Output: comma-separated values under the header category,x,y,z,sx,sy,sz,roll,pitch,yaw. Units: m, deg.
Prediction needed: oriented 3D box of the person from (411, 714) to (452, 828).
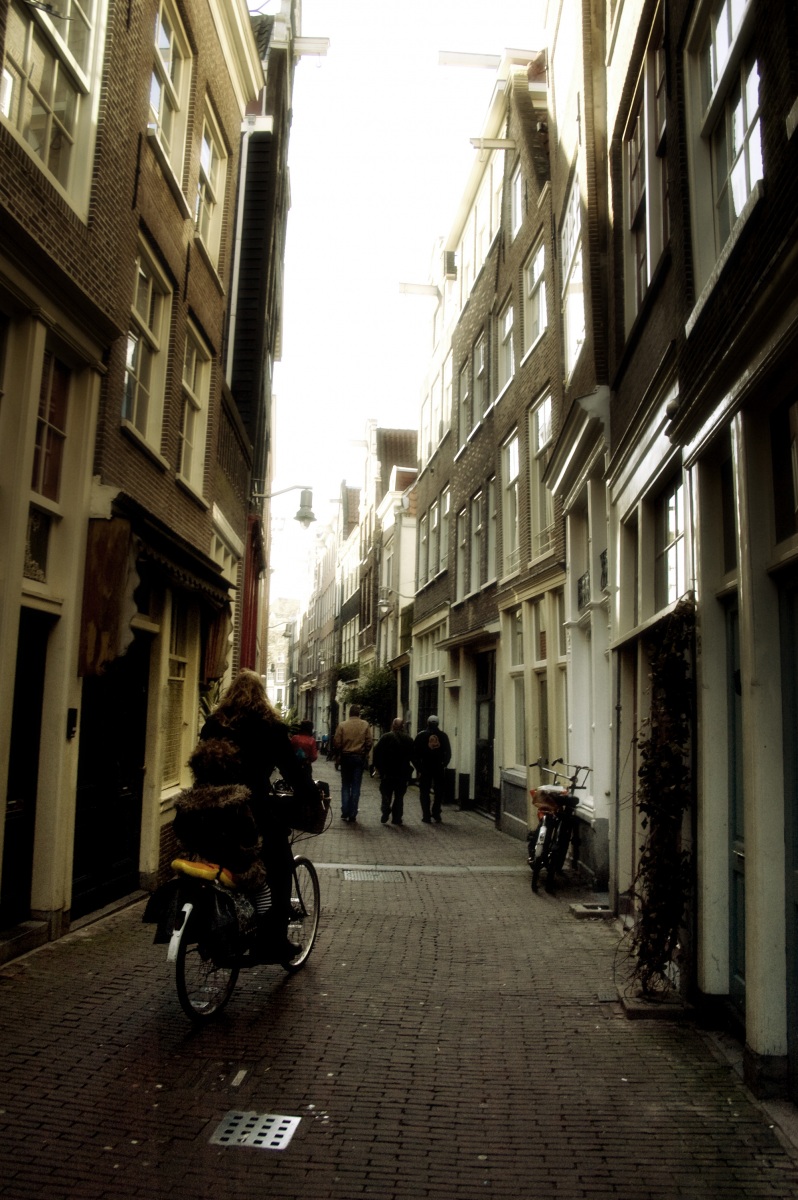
category,x,y,z,sx,sy,sz,roll,pitch,yaw
person,0.607,3.302,16.530,0.614,2.013,1.418,2,-9,2

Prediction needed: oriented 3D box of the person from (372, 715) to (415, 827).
category,x,y,z,sx,sy,sz,roll,pitch,yaw
person,-0.105,3.218,15.797,0.751,1.865,1.597,2,-9,1

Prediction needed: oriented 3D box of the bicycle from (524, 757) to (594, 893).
category,x,y,z,sx,sy,sz,roll,pitch,yaw
bicycle,1.795,2.636,9.748,0.655,1.142,1.621,2,-15,15
